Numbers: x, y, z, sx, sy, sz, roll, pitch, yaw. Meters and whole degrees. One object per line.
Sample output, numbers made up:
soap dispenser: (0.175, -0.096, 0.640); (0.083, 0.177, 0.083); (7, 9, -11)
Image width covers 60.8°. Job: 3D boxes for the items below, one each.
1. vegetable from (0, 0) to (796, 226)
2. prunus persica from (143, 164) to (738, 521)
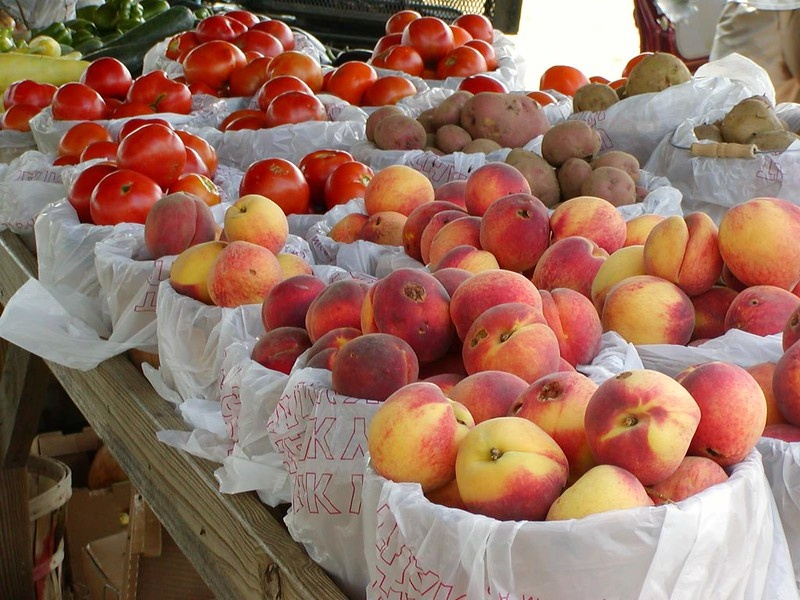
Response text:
vegetable: (-0.051, -0.575, 2.203); (1.273, 0.391, 1.457); (-1, 22, -1)
prunus persica: (0.099, 0.092, 0.831); (0.507, 0.211, 0.410); (12, 28, 37)
